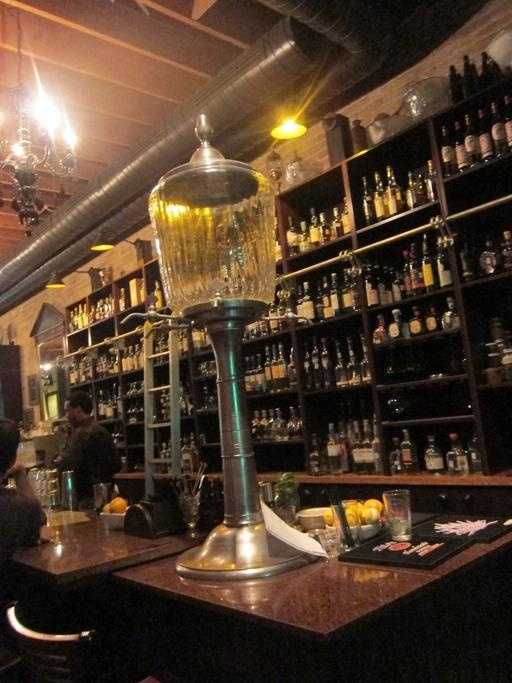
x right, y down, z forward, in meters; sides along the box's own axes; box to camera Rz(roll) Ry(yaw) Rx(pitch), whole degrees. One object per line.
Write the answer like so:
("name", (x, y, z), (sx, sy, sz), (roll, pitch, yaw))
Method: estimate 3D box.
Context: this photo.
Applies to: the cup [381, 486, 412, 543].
("cup", (0.354, 0.422, 1.306), (0.060, 0.119, 0.078), (-9, -10, 8))
